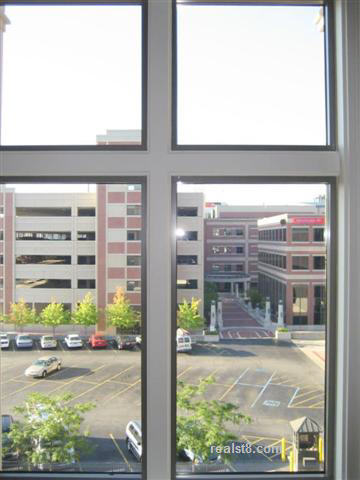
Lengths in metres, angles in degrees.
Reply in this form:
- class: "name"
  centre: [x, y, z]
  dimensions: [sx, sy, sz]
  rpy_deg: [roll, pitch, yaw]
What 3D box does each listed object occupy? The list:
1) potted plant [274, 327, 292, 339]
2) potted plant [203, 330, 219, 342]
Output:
- class: "potted plant"
  centre: [0.419, 0.368, 2.631]
  dimensions: [0.041, 0.032, 0.047]
  rpy_deg: [0, -2, 2]
- class: "potted plant"
  centre: [0.130, 0.373, 2.607]
  dimensions: [0.044, 0.032, 0.049]
  rpy_deg: [0, -2, 2]
